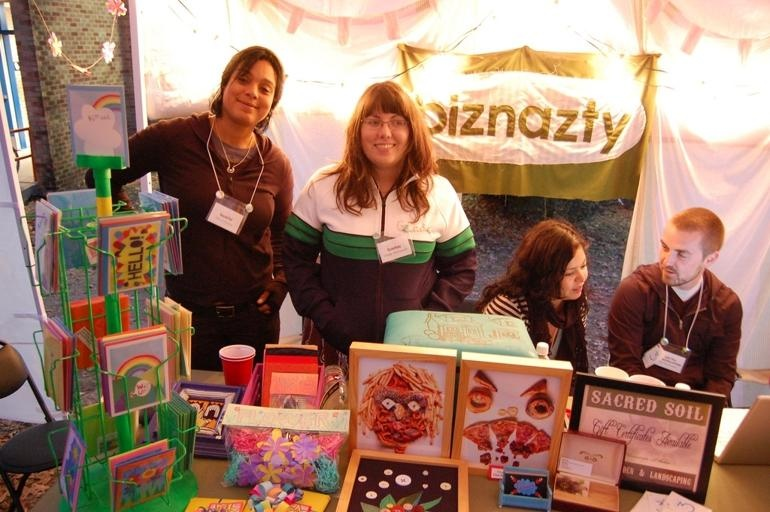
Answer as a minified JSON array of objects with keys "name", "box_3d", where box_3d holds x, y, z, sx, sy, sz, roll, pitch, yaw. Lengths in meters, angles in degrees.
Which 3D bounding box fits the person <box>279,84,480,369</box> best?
[{"name":"person","box_3d":[-0.002,-0.163,2.603,1.006,1.375,0.393,-1,15,-12]}]

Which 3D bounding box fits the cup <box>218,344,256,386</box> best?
[{"name":"cup","box_3d":[-0.614,0.463,2.115,0.160,0.138,0.162,3,3,0]}]

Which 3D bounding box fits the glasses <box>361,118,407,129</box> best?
[{"name":"glasses","box_3d":[0.004,-0.635,2.452,0.208,0.045,0.039,2,14,-1]}]

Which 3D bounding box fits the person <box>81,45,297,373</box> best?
[{"name":"person","box_3d":[-0.894,-0.233,2.771,0.834,1.717,0.382,-5,16,-24]}]

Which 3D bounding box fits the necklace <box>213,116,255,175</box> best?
[{"name":"necklace","box_3d":[-0.806,-0.578,2.694,0.210,0.265,0.073,10,8,-13]}]
